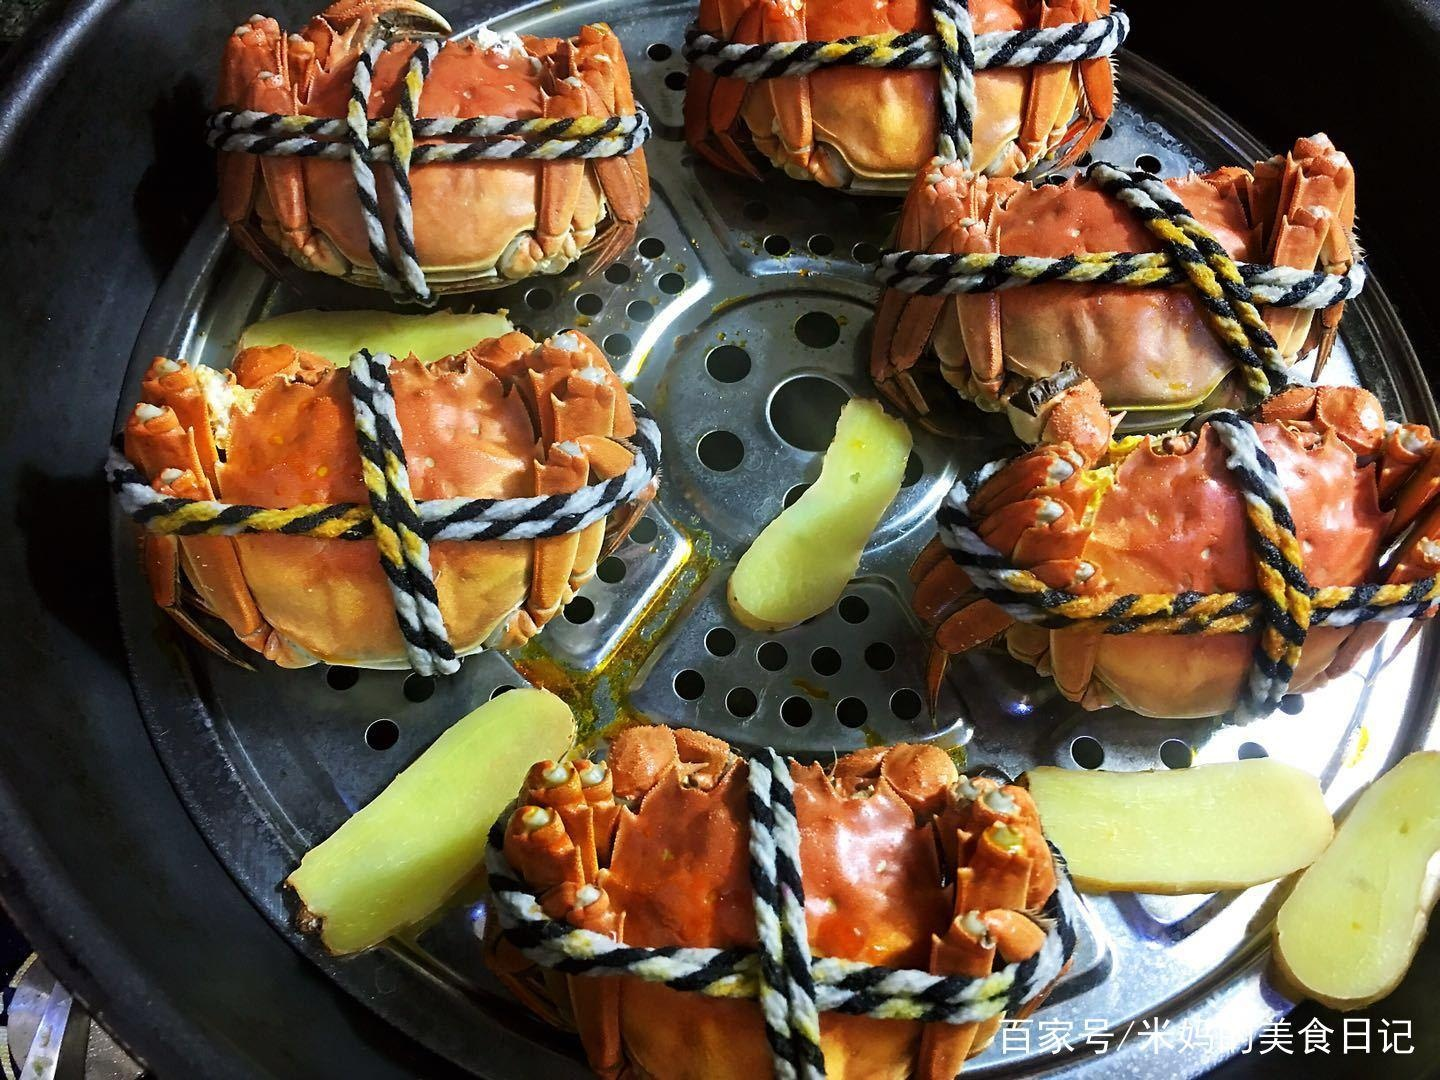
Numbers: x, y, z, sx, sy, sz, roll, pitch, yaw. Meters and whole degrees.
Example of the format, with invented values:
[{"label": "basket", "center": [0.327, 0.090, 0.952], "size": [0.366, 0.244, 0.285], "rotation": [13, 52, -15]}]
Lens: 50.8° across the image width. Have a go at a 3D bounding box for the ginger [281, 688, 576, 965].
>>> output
[{"label": "ginger", "center": [-0.476, 0.467, 2.486], "size": [0.558, 0.076, 0.249], "rotation": [-37, 68, -15]}]
